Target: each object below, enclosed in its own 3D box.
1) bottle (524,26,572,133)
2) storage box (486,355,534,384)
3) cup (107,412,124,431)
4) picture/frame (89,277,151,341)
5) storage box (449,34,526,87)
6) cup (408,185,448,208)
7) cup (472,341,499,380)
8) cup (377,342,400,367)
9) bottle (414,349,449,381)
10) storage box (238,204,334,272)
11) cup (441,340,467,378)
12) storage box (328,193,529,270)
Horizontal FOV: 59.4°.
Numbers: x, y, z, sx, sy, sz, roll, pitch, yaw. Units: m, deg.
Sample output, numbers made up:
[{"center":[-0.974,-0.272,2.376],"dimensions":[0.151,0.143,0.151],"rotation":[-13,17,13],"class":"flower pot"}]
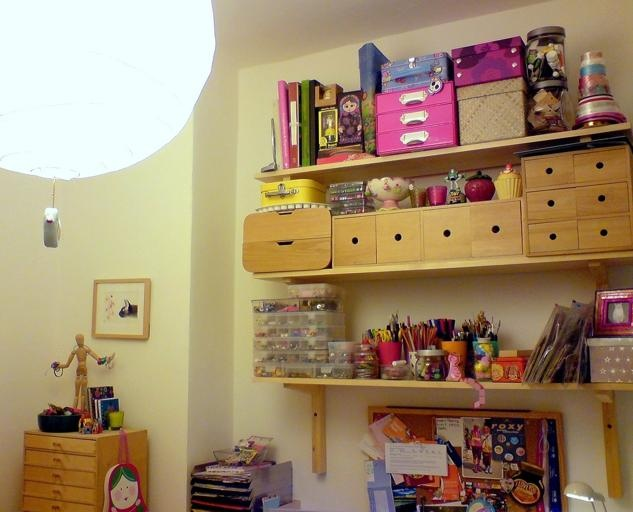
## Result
[{"center":[0.818,-0.608,1.946],"dimensions":[0.177,0.367,0.129],"rotation":[-1,-5,1],"class":"bottle"},{"center":[0.644,0.379,1.857],"dimensions":[0.118,0.087,0.089],"rotation":[-3,-5,22],"class":"storage box"},{"center":[-0.854,0.710,2.378],"dimensions":[0.063,0.077,0.067],"rotation":[0,-11,0],"class":"cup"},{"center":[-0.873,0.241,2.509],"dimensions":[0.266,0.250,0.020],"rotation":[1,-1,24],"class":"picture/frame"},{"center":[0.616,-0.747,2.047],"dimensions":[0.247,0.139,0.191],"rotation":[-7,35,12],"class":"storage box"},{"center":[0.419,-0.229,2.082],"dimensions":[0.102,0.075,0.093],"rotation":[0,-7,0],"class":"cup"},{"center":[0.596,0.358,1.946],"dimensions":[0.085,0.149,0.090],"rotation":[1,-10,0],"class":"cup"},{"center":[0.273,0.374,2.095],"dimensions":[0.081,0.067,0.078],"rotation":[-2,-17,-1],"class":"cup"},{"center":[0.404,0.382,1.946],"dimensions":[0.099,0.091,0.104],"rotation":[1,-12,1],"class":"bottle"},{"center":[-0.101,-0.035,2.276],"dimensions":[0.361,0.262,0.219],"rotation":[-3,-11,6],"class":"storage box"},{"center":[0.519,0.370,2.019],"dimensions":[0.098,0.179,0.108],"rotation":[0,-10,0],"class":"cup"},{"center":[0.416,-0.088,2.092],"dimensions":[0.698,0.220,0.196],"rotation":[-4,5,24],"class":"storage box"}]
